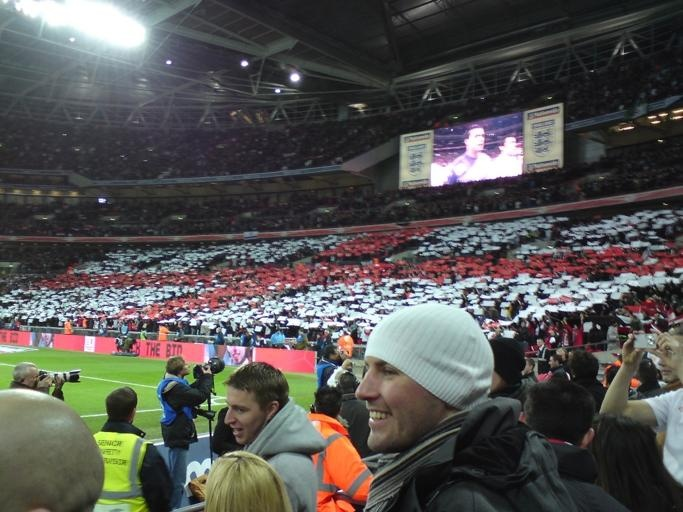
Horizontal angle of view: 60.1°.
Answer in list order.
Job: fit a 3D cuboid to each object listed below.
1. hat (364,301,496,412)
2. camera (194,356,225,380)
[{"bbox_3d":[0.782,0.643,4.016,1.066,0.557,0.660,12,-7,-1],"label":"hat"},{"bbox_3d":[-1.803,1.509,8.117,0.324,0.209,0.477,15,13,20],"label":"camera"}]
